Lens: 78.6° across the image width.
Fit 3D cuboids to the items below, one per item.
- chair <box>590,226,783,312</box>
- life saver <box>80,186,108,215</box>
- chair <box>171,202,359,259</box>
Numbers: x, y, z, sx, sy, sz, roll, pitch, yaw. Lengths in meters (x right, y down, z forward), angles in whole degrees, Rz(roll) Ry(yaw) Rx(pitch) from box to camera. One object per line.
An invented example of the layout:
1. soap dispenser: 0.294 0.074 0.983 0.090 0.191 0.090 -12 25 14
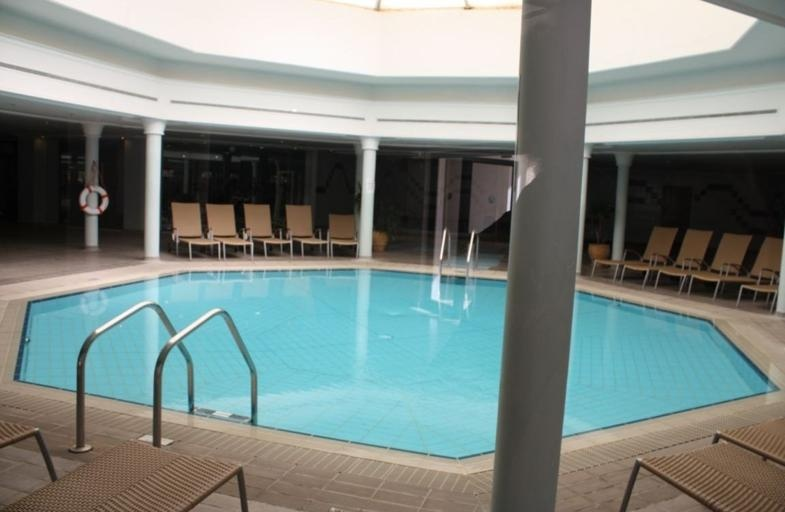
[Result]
1. chair: 7.338 0.098 11.477 2.215 1.374 4.239 -1 8 -27
2. life saver: -8.531 -1.600 13.795 0.689 0.851 0.563 -2 10 -32
3. chair: -4.499 -0.789 13.960 3.411 1.391 2.338 -1 8 -24
